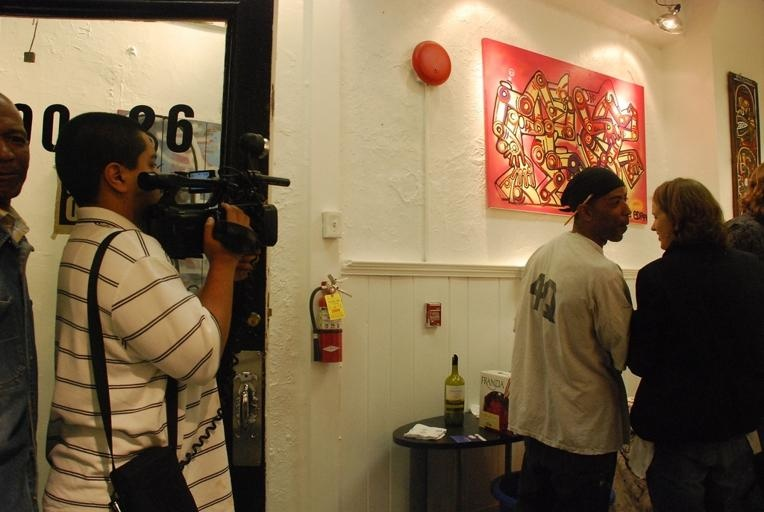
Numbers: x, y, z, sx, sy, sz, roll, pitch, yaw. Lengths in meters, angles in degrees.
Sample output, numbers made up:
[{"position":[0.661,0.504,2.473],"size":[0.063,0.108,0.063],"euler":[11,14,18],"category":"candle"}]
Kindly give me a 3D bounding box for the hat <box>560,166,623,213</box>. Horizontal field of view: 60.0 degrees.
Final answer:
[{"position":[1.002,-0.343,3.204],"size":[0.263,0.210,0.197],"euler":[-16,2,23],"category":"hat"}]

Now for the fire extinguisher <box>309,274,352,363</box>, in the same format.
[{"position":[-0.290,0.325,3.374],"size":[0.165,0.463,0.102],"euler":[0,-1,-9],"category":"fire extinguisher"}]
